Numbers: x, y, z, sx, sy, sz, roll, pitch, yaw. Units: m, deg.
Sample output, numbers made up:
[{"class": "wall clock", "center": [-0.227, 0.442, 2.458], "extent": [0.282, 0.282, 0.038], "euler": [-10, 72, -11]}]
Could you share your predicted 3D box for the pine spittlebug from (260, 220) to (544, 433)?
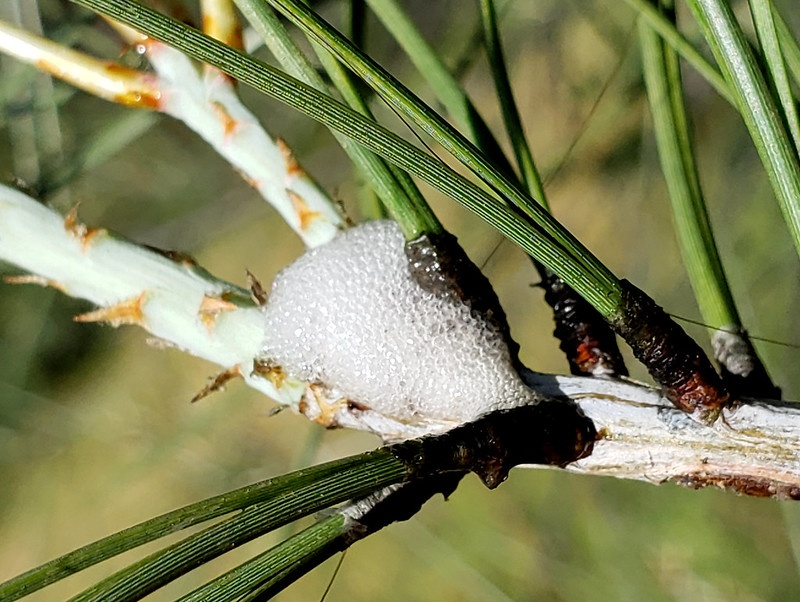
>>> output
[{"class": "pine spittlebug", "center": [0.007, 0.031, 1.158], "extent": [0.358, 0.070, 0.231], "euler": [21, 80, 10]}]
